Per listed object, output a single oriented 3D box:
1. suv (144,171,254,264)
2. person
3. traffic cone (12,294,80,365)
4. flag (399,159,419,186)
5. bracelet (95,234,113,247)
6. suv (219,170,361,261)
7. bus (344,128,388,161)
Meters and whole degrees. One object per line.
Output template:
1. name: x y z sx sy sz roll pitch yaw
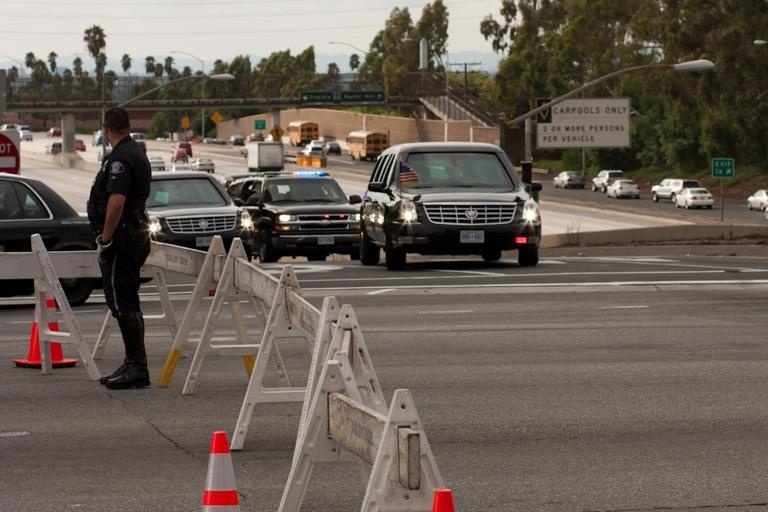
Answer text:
1. suv: -4.087 -0.919 23.190 2.091 1.714 2.629 -4 9 -17
2. person: -2.893 -0.082 11.541 0.995 2.805 0.912 1 0 23
3. traffic cone: -4.051 0.882 12.365 0.767 0.907 0.700 0 8 3
4. flag: 0.476 -1.664 21.391 0.397 0.434 0.135 -2 9 -17
5. bracelet: -2.924 -0.170 11.100 0.214 0.085 0.093 13 -24 46
6. suv: -2.140 -1.062 26.521 2.017 1.974 5.187 -1 1 -21
7. bus: -1.530 -12.057 112.306 3.434 3.038 6.138 -2 3 -21
